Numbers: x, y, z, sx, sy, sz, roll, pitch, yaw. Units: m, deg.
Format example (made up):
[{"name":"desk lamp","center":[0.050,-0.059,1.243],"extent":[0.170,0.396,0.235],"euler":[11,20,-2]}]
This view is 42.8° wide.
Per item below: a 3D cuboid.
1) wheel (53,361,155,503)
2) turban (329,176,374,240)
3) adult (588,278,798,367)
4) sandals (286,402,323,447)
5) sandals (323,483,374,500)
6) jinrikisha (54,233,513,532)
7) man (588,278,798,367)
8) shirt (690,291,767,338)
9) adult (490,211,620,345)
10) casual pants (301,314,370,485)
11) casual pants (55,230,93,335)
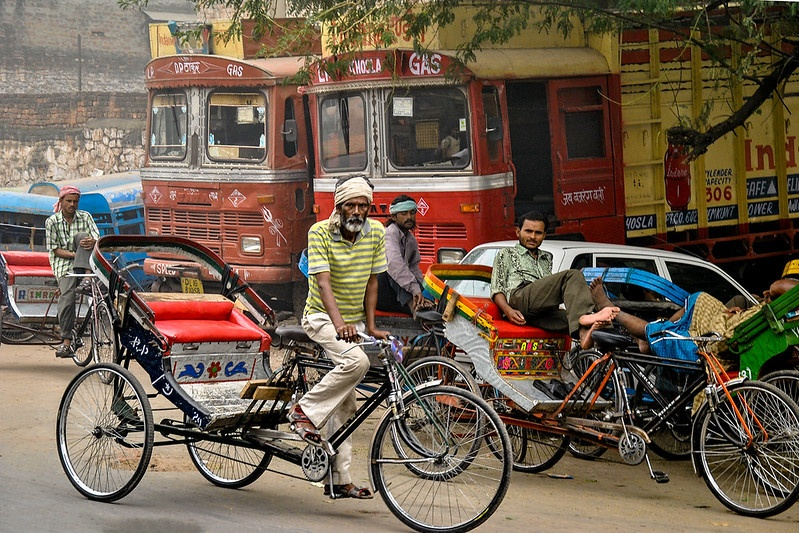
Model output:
[{"name":"wheel","center":[-2.712,1.561,9.390],"extent":[1.181,1.171,0.294],"euler":[6,0,37]},{"name":"turban","center":[-0.484,-0.534,9.089],"extent":[0.523,0.614,0.439],"euler":[-1,1,-16]},{"name":"adult","center":[3.022,0.525,10.194],"extent":[1.511,0.745,1.008],"euler":[-8,6,-18]},{"name":"sandals","center":[-0.836,1.359,8.905],"extent":[0.395,0.176,0.218],"euler":[36,12,17]},{"name":"sandals","center":[-0.463,1.935,8.812],"extent":[0.355,0.093,0.173],"euler":[-2,-2,14]},{"name":"jinrikisha","center":[-0.907,0.927,9.511],"extent":[4.020,2.273,2.379],"euler":[0,0,28]},{"name":"man","center":[2.780,0.341,10.087],"extent":[1.511,0.745,1.008],"euler":[-8,6,-18]},{"name":"shirt","center":[3.195,0.420,9.987],"extent":[0.515,0.199,0.523],"euler":[18,25,24]},{"name":"adult","center":[1.593,0.121,10.244],"extent":[0.744,1.506,1.348],"euler":[11,-16,-37]},{"name":"casual pants","center":[-0.580,1.138,8.987],"extent":[0.626,1.451,0.520],"euler":[0,6,-6]},{"name":"casual pants","center":[-4.425,0.344,13.760],"extent":[0.415,1.867,0.507],"euler":[8,14,4]}]
